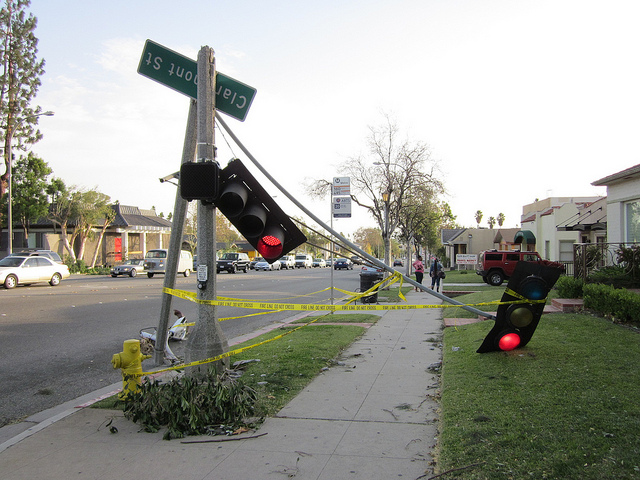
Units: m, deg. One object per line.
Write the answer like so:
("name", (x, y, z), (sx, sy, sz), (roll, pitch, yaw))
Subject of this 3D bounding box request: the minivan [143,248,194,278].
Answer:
("minivan", (-11.923, 1.790, 35.916), (3.571, 2.118, 3.866), (-2, 1, -11))

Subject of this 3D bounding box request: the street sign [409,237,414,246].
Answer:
("street sign", (12.250, 0.123, 62.751), (0.497, 1.333, 1.365), (2, 8, 6))

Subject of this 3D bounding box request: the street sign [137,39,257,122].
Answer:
("street sign", (-2.005, -2.527, 7.522), (1.840, 1.250, 0.382), (-2, 1, 19))

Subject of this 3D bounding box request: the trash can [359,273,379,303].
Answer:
("trash can", (1.938, 1.923, 19.622), (1.007, 1.304, 1.014), (0, -3, 13))

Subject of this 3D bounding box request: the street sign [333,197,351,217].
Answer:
("street sign", (0.796, -1.174, 16.497), (0.775, 0.742, 0.413), (-1, -4, 14))

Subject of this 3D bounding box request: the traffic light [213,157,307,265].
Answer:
("traffic light", (-0.871, -0.398, 6.631), (1.202, 1.284, 0.543), (-2, 1, 0))

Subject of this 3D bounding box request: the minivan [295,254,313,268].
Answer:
("minivan", (-2.323, 2.963, 67.783), (1.470, 1.222, 2.412), (-2, -6, 14))

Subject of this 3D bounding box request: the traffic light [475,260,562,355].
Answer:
("traffic light", (3.392, 1.185, 8.022), (1.199, 1.668, 0.795), (-2, 1, 21))

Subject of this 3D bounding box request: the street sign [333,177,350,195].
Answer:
("street sign", (0.747, -1.859, 16.330), (0.565, 0.447, 0.625), (-2, 1, -1))

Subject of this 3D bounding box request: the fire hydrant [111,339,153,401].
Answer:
("fire hydrant", (-2.611, 1.784, 6.484), (0.432, 0.832, 0.539), (-2, 1, -21))
